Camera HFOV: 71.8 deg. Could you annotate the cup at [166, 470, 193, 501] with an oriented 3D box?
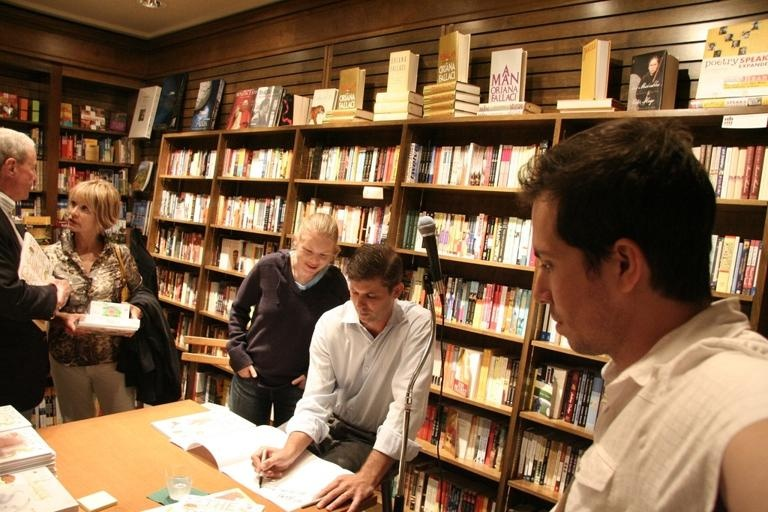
[{"bbox_3d":[-0.810,0.927,2.129,0.092,0.078,0.101,4,-9,1],"label":"cup"}]
